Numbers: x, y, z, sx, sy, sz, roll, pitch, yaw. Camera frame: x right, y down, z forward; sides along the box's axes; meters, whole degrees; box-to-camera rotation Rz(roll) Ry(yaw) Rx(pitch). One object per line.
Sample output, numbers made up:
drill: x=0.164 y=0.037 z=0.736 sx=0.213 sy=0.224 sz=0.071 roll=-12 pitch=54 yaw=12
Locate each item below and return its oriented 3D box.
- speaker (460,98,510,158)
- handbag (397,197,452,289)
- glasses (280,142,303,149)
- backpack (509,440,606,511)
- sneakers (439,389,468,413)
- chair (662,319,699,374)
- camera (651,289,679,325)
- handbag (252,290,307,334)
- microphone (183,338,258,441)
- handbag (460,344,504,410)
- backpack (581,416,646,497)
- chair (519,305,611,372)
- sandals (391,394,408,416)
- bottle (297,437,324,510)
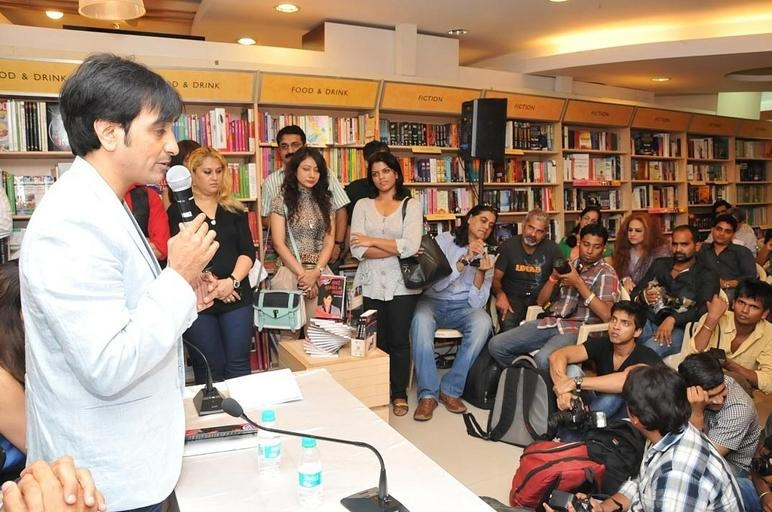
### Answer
speaker: x=0.976 y=-1.278 z=5.342 sx=0.439 sy=0.604 sz=0.296 roll=3 pitch=15 yaw=6
handbag: x=0.315 y=0.065 z=4.257 sx=0.272 sy=0.427 sz=0.351 roll=14 pitch=19 yaw=39
glasses: x=-0.850 y=-0.990 z=4.796 sx=0.204 sy=0.080 sz=0.137 roll=-1 pitch=15 yaw=-9
backpack: x=0.933 y=1.189 z=3.017 sx=0.464 sy=0.391 sz=0.329 roll=6 pitch=20 yaw=4
sneakers: x=0.544 y=1.197 z=4.346 sx=0.098 sy=0.098 sz=0.255 roll=-1 pitch=3 yaw=-31
chair: x=2.275 y=0.666 z=4.091 sx=0.195 sy=0.320 sz=0.334 roll=10 pitch=17 yaw=28
camera: x=2.262 y=0.423 z=4.341 sx=0.247 sy=0.294 sz=0.278 roll=9 pitch=17 yaw=25
handbag: x=-0.760 y=0.388 z=3.907 sx=0.406 sy=0.277 sz=0.206 roll=0 pitch=12 yaw=20
microphone: x=-0.807 y=0.615 z=2.470 sx=0.304 sy=0.180 sz=0.532 roll=-6 pitch=25 yaw=-25
handbag: x=0.793 y=0.983 z=4.338 sx=0.291 sy=0.457 sz=0.496 roll=17 pitch=1 yaw=-5
backpack: x=1.284 y=1.094 z=2.967 sx=0.311 sy=0.391 sz=0.156 roll=34 pitch=-14 yaw=-3
chair: x=1.332 y=0.626 z=4.234 sx=0.655 sy=0.461 sz=0.643 roll=12 pitch=18 yaw=36
sandals: x=0.112 y=1.200 z=4.250 sx=0.157 sy=0.084 sz=0.375 roll=-1 pitch=1 yaw=-2
bottle: x=-0.275 y=0.768 z=1.929 sx=0.097 sy=0.203 sz=0.212 roll=-1 pitch=15 yaw=-8
